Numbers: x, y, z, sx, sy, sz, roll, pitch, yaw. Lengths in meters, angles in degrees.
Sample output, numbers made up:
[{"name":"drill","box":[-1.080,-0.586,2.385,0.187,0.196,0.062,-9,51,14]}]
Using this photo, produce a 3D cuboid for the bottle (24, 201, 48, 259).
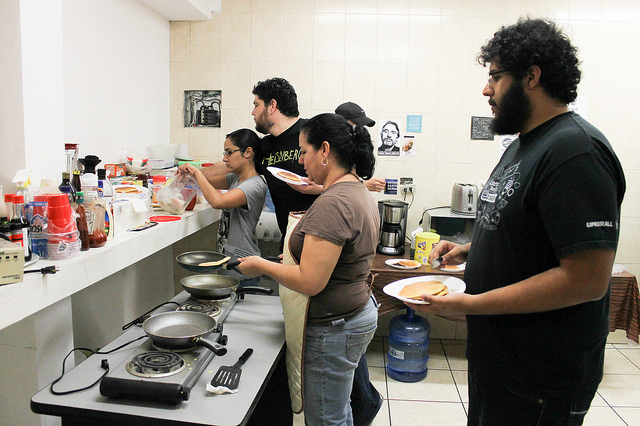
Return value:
[{"name":"bottle","box":[-1.317,0.081,2.107,0.110,0.276,0.040,0,9,10]}]

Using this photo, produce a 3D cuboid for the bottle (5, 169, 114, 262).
[{"name":"bottle","box":[-1.318,-0.007,2.228,0.451,0.283,0.463,0,8,0]}]

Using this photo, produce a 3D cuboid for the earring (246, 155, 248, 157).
[{"name":"earring","box":[-0.521,-0.400,3.154,0.012,0.013,0.012,1,-1,-22]}]

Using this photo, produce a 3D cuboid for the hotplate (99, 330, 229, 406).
[{"name":"hotplate","box":[-0.728,0.701,2.010,0.406,0.149,0.348,0,9,6]}]

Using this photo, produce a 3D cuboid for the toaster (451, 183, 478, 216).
[{"name":"toaster","box":[1.305,-0.098,4.156,0.319,0.275,0.187,7,-17,-35]}]

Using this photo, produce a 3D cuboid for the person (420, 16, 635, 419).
[{"name":"person","box":[0.877,0.100,1.946,0.739,1.858,0.553,3,9,26]}]

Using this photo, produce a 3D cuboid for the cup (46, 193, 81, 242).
[{"name":"cup","box":[-1.232,0.024,2.125,0.116,0.230,0.074,-7,10,-31]}]

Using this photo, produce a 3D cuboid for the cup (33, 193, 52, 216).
[{"name":"cup","box":[-1.309,-0.038,2.103,0.079,0.096,0.064,-2,9,-8]}]
